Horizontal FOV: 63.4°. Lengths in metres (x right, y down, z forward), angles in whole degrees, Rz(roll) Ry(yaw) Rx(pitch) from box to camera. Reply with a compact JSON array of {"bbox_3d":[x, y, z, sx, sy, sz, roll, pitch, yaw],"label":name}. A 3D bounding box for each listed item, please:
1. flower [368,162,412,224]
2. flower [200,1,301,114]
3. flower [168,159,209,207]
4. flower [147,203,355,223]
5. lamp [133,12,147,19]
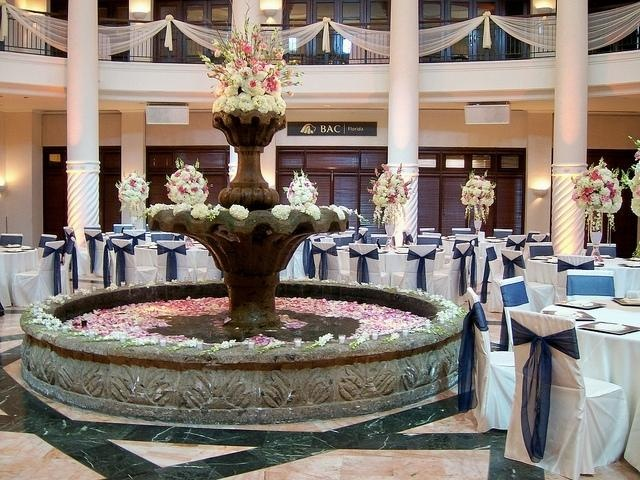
[{"bbox_3d":[1.138,-0.728,8.588,0.576,1.034,0.839,1,13,5],"label":"flower"},{"bbox_3d":[-0.685,-1.655,5.002,0.597,0.708,0.630,-1,13,22],"label":"flower"},{"bbox_3d":[-1.897,-0.829,7.491,0.557,0.586,0.527,-8,3,-4],"label":"flower"},{"bbox_3d":[-0.645,-0.270,4.779,1.928,0.206,0.509,-1,13,-7],"label":"flower"},{"bbox_3d":[-5.331,-6.743,15.450,0.237,0.092,0.231,0,3,-22],"label":"lamp"}]
